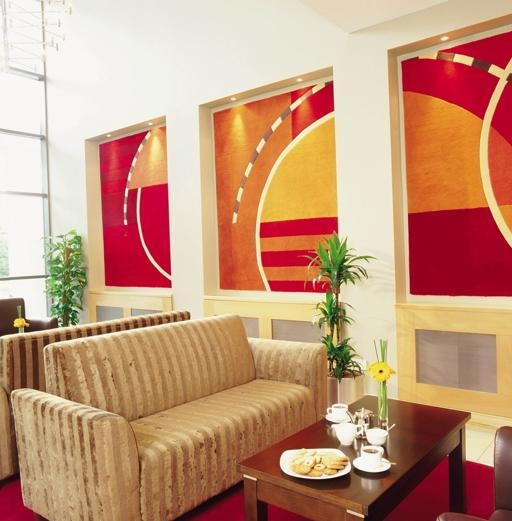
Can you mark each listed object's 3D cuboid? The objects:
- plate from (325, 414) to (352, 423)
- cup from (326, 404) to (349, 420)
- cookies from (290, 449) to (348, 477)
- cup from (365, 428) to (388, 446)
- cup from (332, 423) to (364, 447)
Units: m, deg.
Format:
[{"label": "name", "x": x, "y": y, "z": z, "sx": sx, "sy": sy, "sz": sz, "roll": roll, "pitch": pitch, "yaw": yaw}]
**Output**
[{"label": "plate", "x": 0.371, "y": 0.712, "z": 2.011, "sx": 0.079, "sy": 0.015, "sz": 0.082, "roll": 1, "pitch": -4, "yaw": -1}, {"label": "cup", "x": 0.371, "y": 0.691, "z": 2.074, "sx": 0.071, "sy": 0.066, "sz": 0.105, "roll": 2, "pitch": -6, "yaw": -23}, {"label": "cookies", "x": 0.221, "y": 0.707, "z": 1.585, "sx": 0.196, "sy": 0.032, "sz": 0.222, "roll": -4, "pitch": 1, "yaw": 5}, {"label": "cup", "x": 0.464, "y": 0.674, "z": 1.713, "sx": 0.073, "sy": 0.048, "sz": 0.075, "roll": -1, "pitch": -8, "yaw": 0}, {"label": "cup", "x": 0.371, "y": 0.718, "z": 1.824, "sx": 0.119, "sy": 0.089, "sz": 0.082, "roll": 1, "pitch": -6, "yaw": -1}]
